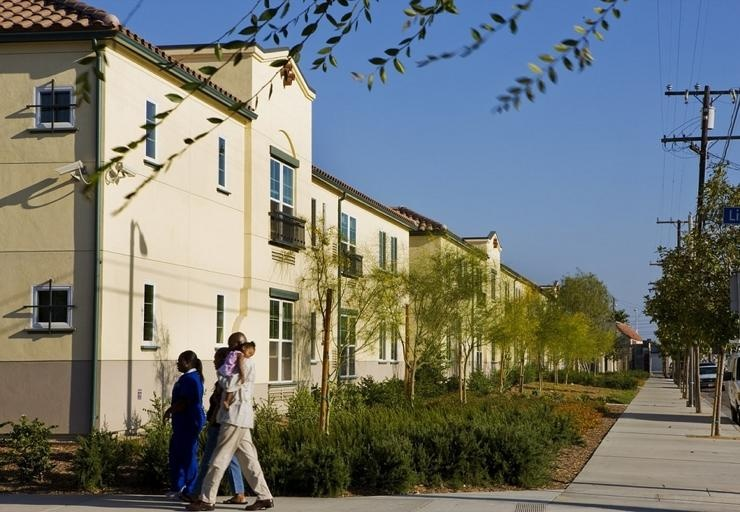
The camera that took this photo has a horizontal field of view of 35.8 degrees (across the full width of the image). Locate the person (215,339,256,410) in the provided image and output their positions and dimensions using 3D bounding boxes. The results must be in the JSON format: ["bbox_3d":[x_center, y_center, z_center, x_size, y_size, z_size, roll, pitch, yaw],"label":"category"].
[{"bbox_3d":[-2.573,2.315,22.215,0.681,1.393,0.547,10,4,-45],"label":"person"}]
